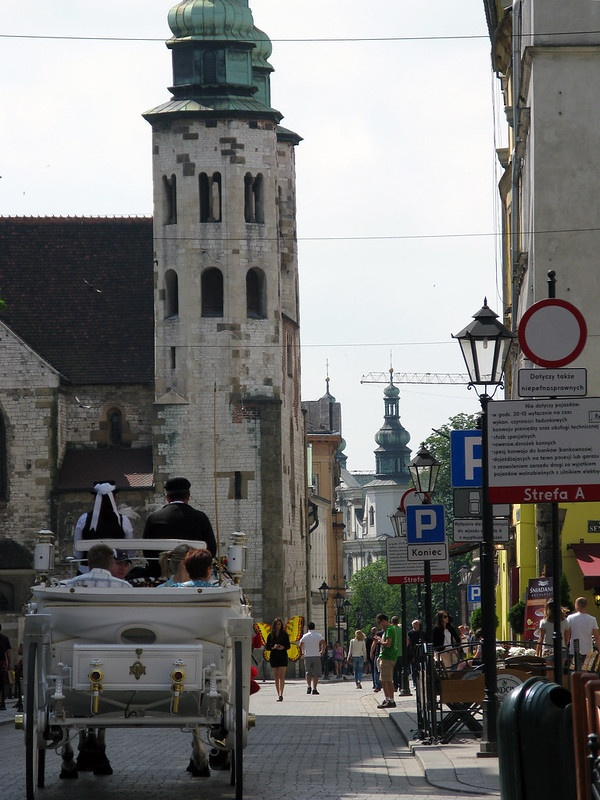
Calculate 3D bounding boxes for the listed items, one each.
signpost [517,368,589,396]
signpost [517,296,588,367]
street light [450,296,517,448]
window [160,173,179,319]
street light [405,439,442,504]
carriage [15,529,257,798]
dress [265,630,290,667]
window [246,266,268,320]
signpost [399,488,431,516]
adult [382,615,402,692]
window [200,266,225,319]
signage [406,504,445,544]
[{"bbox_3d":[1.912,-0.116,13.734,0.547,0.253,0.329,-1,-8,-5],"label":"signpost"},{"bbox_3d":[1.916,-0.462,13.709,0.523,0.659,0.057,3,-35,11],"label":"signpost"},{"bbox_3d":[1.617,-0.160,15.743,0.511,1.403,0.514,0,1,-10],"label":"street light"},{"bbox_3d":[-3.784,-4.335,52.707,0.400,4.140,0.934,-1,-7,-4],"label":"window"},{"bbox_3d":[1.473,0.908,21.372,0.285,0.727,0.297,-1,-1,8],"label":"street light"},{"bbox_3d":[-1.075,1.738,11.984,1.522,1.783,1.812,-1,-8,-3],"label":"carriage"},{"bbox_3d":[-0.348,3.976,28.676,0.369,0.542,0.531,0,-13,3],"label":"dress"},{"bbox_3d":[-1.406,-3.014,53.425,0.631,1.840,0.188,-1,-8,-5],"label":"window"},{"bbox_3d":[1.380,1.244,21.521,0.067,0.583,0.461,9,-12,-40],"label":"signpost"},{"bbox_3d":[1.642,4.327,30.476,0.311,1.271,0.391,-3,-4,8],"label":"adult"},{"bbox_3d":[-2.534,-2.960,52.595,0.658,1.494,0.566,-2,-7,1],"label":"window"},{"bbox_3d":[1.395,1.404,20.045,0.429,0.450,0.391,-2,-8,1],"label":"signage"}]
